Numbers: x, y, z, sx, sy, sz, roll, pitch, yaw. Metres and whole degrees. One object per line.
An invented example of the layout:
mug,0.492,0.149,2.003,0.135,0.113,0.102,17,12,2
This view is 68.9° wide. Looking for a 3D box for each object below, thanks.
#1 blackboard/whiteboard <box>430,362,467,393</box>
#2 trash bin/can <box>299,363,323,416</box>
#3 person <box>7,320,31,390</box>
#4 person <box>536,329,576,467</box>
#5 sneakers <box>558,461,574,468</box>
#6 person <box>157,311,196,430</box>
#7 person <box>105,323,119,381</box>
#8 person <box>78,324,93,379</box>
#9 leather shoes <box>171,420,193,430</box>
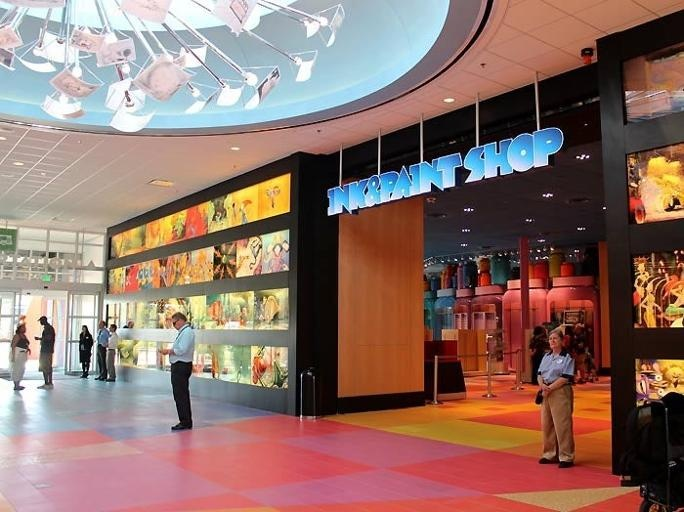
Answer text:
blackboard/whiteboard,2.985,3.366,13.776,1.166,0.819,0.880,5,-20,-16
trash bin/can,-0.705,3.002,10.908,0.386,1.010,0.184,0,-8,0
person,-10.324,3.182,15.892,0.456,2.063,1.022,5,-9,-33
person,3.058,2.018,7.139,0.544,1.895,0.463,-7,-10,39
sneakers,3.135,2.908,6.953,0.242,0.096,0.081,10,-15,-32
person,-3.124,2.203,9.593,0.527,2.209,0.876,2,-8,-16
person,-8.472,3.555,18.328,0.333,2.047,0.615,3,-9,-23
person,-10.329,3.819,20.060,0.431,2.040,0.935,4,-9,-31
leather shoes,-3.046,3.243,9.535,0.391,0.178,0.151,6,-11,-11
